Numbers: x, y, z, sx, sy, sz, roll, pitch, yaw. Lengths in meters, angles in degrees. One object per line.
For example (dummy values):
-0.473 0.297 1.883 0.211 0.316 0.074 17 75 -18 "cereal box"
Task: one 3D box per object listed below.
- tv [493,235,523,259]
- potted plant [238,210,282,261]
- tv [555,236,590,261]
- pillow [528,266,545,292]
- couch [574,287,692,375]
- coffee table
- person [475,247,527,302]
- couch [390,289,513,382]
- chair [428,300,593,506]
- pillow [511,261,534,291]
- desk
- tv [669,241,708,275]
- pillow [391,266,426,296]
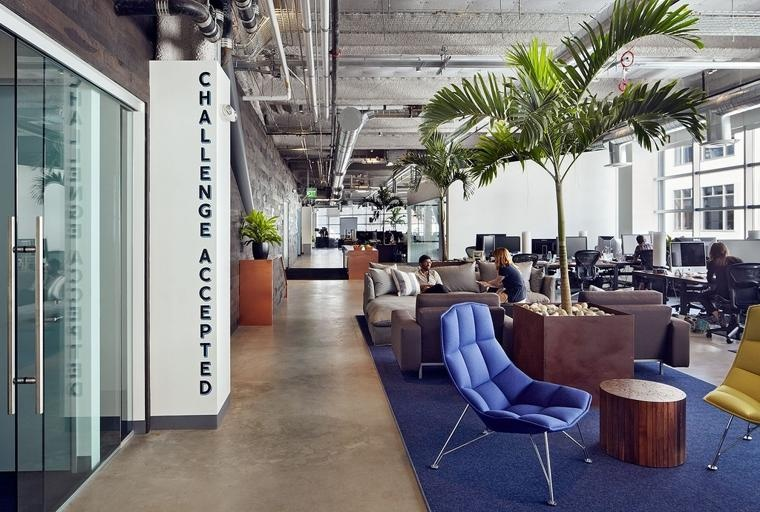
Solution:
2.411 -0.186 10.355 0.487 0.346 0.144 0 -2 -5 "tv"
-2.053 -0.337 9.099 0.721 0.755 0.735 0 -10 -1 "potted plant"
3.443 -0.136 9.717 0.537 0.538 0.185 0 -2 -10 "tv"
2.496 0.378 8.721 0.312 0.318 0.120 0 -9 23 "pillow"
3.009 0.739 6.486 1.222 0.916 0.883 0 2 0 "couch"
2.247 1.416 4.750 0.642 0.497 0.661 0 0 11 "coffee table"
1.637 0.377 7.221 0.611 0.981 0.405 -5 7 30 "person"
0.766 0.872 6.389 1.350 0.992 0.985 -1 1 -5 "couch"
1.212 1.171 5.092 1.491 1.616 1.398 -5 -2 38 "chair"
2.049 0.303 7.895 0.420 0.377 0.161 -7 -15 -12 "pillow"
4.843 0.414 8.980 0.701 0.644 1.366 1 0 4 "desk"
5.226 0.043 9.253 0.549 0.550 0.211 0 2 7 "tv"
0.411 0.406 8.750 0.423 0.420 0.123 0 -26 -47 "pillow"
